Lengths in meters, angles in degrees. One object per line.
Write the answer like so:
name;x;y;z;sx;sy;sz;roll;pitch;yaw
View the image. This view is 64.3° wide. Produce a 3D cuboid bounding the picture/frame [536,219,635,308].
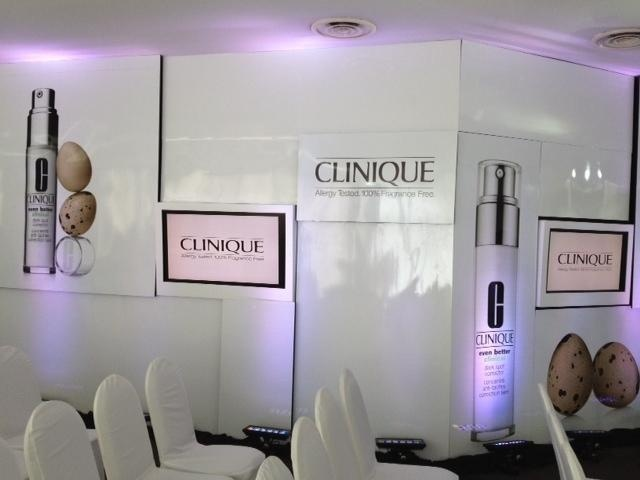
picture/frame;2.614;0.226;5.036;1.162;0.854;0.051;1;3;-19
